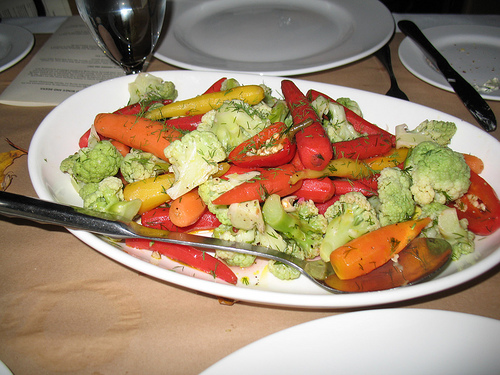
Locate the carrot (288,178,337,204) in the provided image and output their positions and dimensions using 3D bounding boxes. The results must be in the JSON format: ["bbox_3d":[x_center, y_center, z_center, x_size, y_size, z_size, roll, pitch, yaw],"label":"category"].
[{"bbox_3d":[0.242,0.012,1.516,0.153,0.074,0.077,1,89,22],"label":"carrot"}]

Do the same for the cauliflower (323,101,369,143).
[{"bbox_3d":[0.374,-0.248,1.691,0.169,0.069,0.180,16,56,-31],"label":"cauliflower"}]

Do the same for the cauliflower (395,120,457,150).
[{"bbox_3d":[0.708,-0.215,1.644,0.200,0.085,0.131,-15,60,8],"label":"cauliflower"}]

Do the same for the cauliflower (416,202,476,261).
[{"bbox_3d":[0.715,0.152,1.469,0.177,0.068,0.194,15,92,17],"label":"cauliflower"}]

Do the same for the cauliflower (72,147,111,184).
[{"bbox_3d":[-0.614,-0.074,1.607,0.140,0.180,0.108,5,80,-31],"label":"cauliflower"}]

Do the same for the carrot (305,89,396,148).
[{"bbox_3d":[0.544,-0.257,1.866,0.131,0.695,0.109,-35,65,29],"label":"carrot"}]

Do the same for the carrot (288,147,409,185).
[{"bbox_3d":[0.358,-0.080,1.544,0.334,0.048,0.068,-17,100,-13],"label":"carrot"}]

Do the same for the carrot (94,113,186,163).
[{"bbox_3d":[-0.433,-0.210,1.647,0.409,0.123,0.117,16,106,-24],"label":"carrot"}]

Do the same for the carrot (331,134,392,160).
[{"bbox_3d":[0.444,-0.156,1.630,0.265,0.085,0.094,-10,75,35],"label":"carrot"}]

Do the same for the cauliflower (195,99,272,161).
[{"bbox_3d":[-0.056,-0.251,1.566,0.224,0.093,0.283,42,69,6],"label":"cauliflower"}]

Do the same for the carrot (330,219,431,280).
[{"bbox_3d":[0.442,0.201,1.458,0.400,0.125,0.138,-33,77,-10],"label":"carrot"}]

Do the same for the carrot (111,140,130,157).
[{"bbox_3d":[-0.526,-0.162,1.659,0.065,0.055,0.038,31,89,-8],"label":"carrot"}]

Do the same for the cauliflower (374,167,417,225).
[{"bbox_3d":[0.555,0.025,1.520,0.157,0.063,0.248,7,69,16],"label":"cauliflower"}]

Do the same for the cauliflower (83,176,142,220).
[{"bbox_3d":[-0.542,0.039,1.550,0.181,0.068,0.179,-21,62,-42],"label":"cauliflower"}]

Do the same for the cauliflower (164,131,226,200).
[{"bbox_3d":[-0.195,-0.083,1.516,0.070,0.318,0.248,8,80,38],"label":"cauliflower"}]

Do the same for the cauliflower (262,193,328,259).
[{"bbox_3d":[0.148,0.104,1.504,0.244,0.206,0.061,0,60,-19],"label":"cauliflower"}]

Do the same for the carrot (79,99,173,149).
[{"bbox_3d":[-0.562,-0.258,1.824,0.149,0.501,0.131,39,95,21],"label":"carrot"}]

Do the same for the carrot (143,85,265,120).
[{"bbox_3d":[-0.190,-0.352,1.698,0.489,0.088,0.092,-15,91,6],"label":"carrot"}]

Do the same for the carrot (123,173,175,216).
[{"bbox_3d":[-0.376,0.014,1.598,0.207,0.082,0.119,-30,94,4],"label":"carrot"}]

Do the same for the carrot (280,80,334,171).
[{"bbox_3d":[0.207,-0.245,1.531,0.090,0.094,0.356,-26,99,-27],"label":"carrot"}]

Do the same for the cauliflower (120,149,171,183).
[{"bbox_3d":[-0.420,-0.081,1.613,0.155,0.085,0.133,-4,70,-8],"label":"cauliflower"}]

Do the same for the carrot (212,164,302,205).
[{"bbox_3d":[0.030,0.013,1.510,0.132,0.405,0.116,7,106,39],"label":"carrot"}]
